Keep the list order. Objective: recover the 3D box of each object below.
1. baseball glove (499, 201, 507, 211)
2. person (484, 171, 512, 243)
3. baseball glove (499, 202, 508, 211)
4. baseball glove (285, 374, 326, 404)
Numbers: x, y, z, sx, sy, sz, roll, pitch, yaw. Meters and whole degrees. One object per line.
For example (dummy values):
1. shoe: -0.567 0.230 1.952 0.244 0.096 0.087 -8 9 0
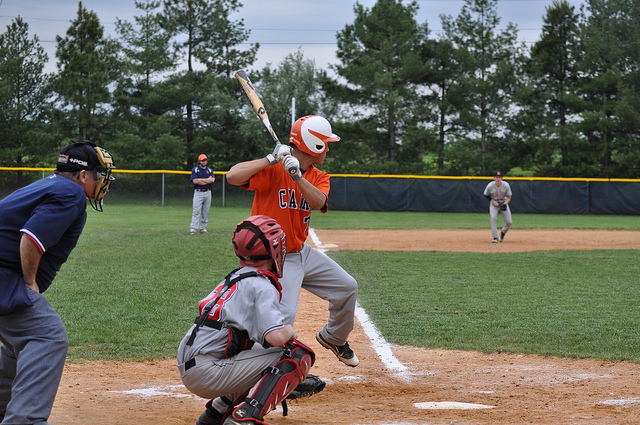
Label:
1. baseball glove: 5.826 -0.197 25.968 0.195 0.210 0.231 1 -4 -5
2. person: 5.761 -0.194 26.368 0.825 2.343 1.516 4 13 13
3. baseball glove: 5.861 -0.193 25.988 0.291 0.291 0.139 0 13 -4
4. baseball glove: -0.256 3.344 15.770 0.631 0.259 0.421 -16 20 -26
